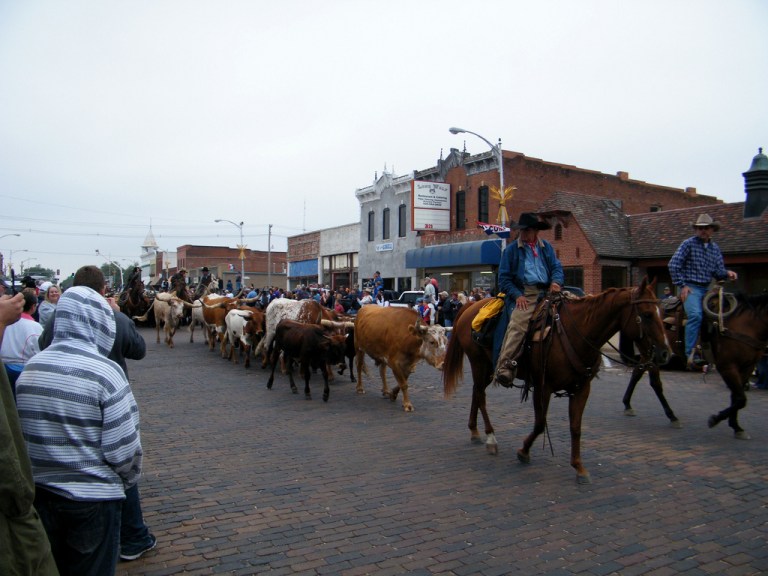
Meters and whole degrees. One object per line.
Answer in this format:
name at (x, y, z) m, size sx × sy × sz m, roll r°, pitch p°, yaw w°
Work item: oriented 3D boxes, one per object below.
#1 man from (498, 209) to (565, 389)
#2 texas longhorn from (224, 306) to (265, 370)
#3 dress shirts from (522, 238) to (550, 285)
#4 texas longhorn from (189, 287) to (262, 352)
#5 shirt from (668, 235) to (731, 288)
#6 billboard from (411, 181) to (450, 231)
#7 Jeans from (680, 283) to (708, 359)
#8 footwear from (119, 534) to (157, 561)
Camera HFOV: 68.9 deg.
man at (2.047, 0.085, 7.649) m, size 0.969 × 2.305 × 0.813 m, roll -7°, pitch 9°, yaw 9°
texas longhorn at (-3.967, 1.371, 15.985) m, size 1.020 × 1.497 × 2.459 m, roll 1°, pitch 0°, yaw -38°
dress shirts at (2.079, -0.361, 7.682) m, size 0.396 × 0.610 × 0.326 m, roll -4°, pitch 2°, yaw -15°
texas longhorn at (-5.419, 1.066, 19.221) m, size 1.834 × 1.781 × 3.459 m, roll 0°, pitch -3°, yaw -33°
shirt at (5.313, -0.383, 9.320) m, size 1.059 × 0.982 × 0.600 m, roll 7°, pitch 2°, yaw -10°
billboard at (2.931, -5.168, 35.267) m, size 2.998 × 3.696 × 0.353 m, roll -1°, pitch 1°, yaw -25°
Jeans at (5.017, 0.512, 9.091) m, size 0.325 × 0.982 × 0.728 m, roll 9°, pitch 2°, yaw 14°
footwear at (-2.186, 2.308, 5.013) m, size 0.107 × 0.126 × 0.290 m, roll 1°, pitch 2°, yaw 18°
